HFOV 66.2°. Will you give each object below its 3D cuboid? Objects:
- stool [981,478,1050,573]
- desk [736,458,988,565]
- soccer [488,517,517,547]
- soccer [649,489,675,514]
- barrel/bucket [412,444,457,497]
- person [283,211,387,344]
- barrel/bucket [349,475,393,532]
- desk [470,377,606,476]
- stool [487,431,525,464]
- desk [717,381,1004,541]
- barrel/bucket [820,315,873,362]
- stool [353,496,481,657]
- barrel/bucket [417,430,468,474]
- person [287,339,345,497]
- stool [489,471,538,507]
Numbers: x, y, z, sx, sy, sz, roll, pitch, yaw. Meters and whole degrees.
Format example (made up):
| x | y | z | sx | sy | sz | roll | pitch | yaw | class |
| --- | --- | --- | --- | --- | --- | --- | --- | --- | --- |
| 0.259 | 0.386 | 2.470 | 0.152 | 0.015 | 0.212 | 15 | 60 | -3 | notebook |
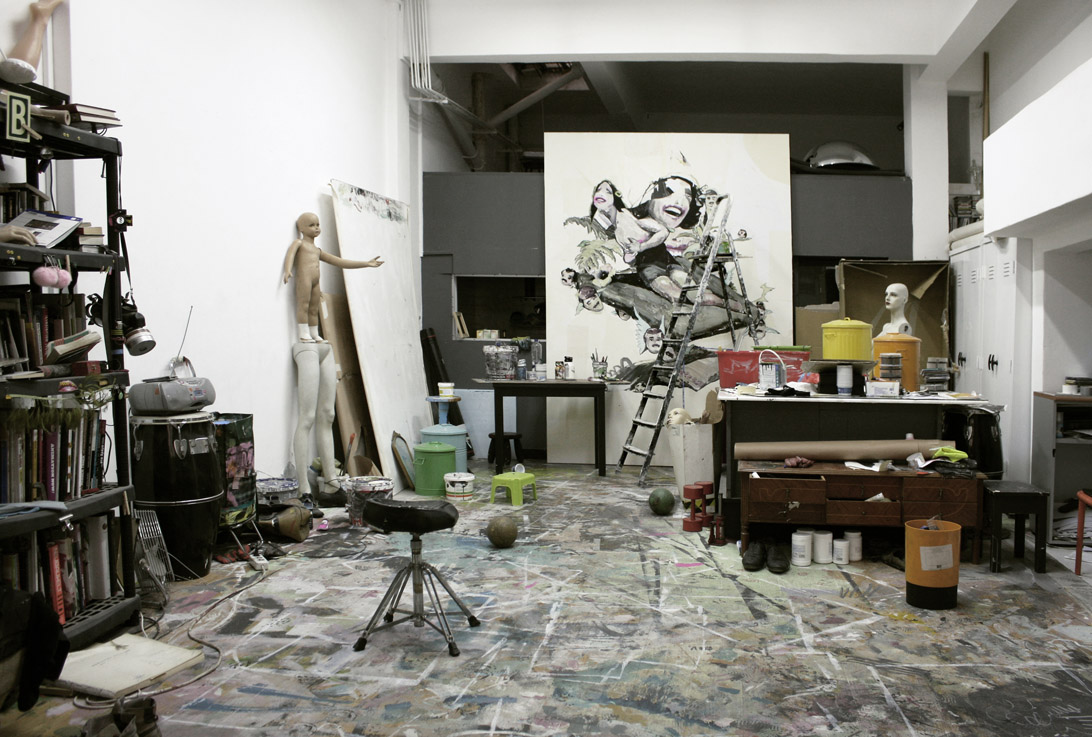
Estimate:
| x | y | z | sx | sy | sz | roll | pitch | yaw | class |
| --- | --- | --- | --- | --- | --- | --- | --- | --- | --- |
| 3.752 | 1.263 | 6.677 | 0.235 | 0.373 | 0.739 | -2 | 1 | 17 | stool |
| 2.532 | 1.024 | 6.686 | 1.894 | 0.493 | 0.212 | 2 | 14 | 7 | desk |
| -0.367 | 1.386 | 7.135 | 0.256 | 0.250 | 0.285 | -1 | 14 | -3 | soccer |
| 1.126 | 1.279 | 8.054 | 0.257 | 0.263 | 0.238 | -1 | 14 | -1 | soccer |
| -1.181 | 1.080 | 8.975 | 0.530 | 0.529 | 0.474 | 2 | -3 | -37 | barrel/bucket |
| -2.215 | -0.915 | 8.221 | 0.483 | 1.236 | 0.763 | 3 | 14 | 13 | person |
| -1.629 | 1.189 | 7.628 | 0.514 | 0.547 | 0.568 | 1 | -4 | -14 | barrel/bucket |
| 0.053 | 0.886 | 10.071 | 1.770 | 1.241 | 1.063 | 0 | -2 | 2 | desk |
| -0.488 | 0.973 | 10.399 | 0.410 | 0.419 | 0.403 | -1 | -2 | -7 | stool |
| 2.722 | 1.108 | 7.620 | 2.359 | 1.134 | 1.286 | -1 | -4 | 6 | desk |
| 2.611 | -0.263 | 7.291 | 0.407 | 0.349 | 0.376 | 0 | -3 | 0 | barrel/bucket |
| -0.831 | 1.373 | 5.873 | 0.928 | 1.238 | 0.950 | 1 | 2 | 11 | stool |
| -1.105 | 0.890 | 9.264 | 0.509 | 0.539 | 0.511 | 0 | -3 | 0 | barrel/bucket |
| -2.217 | 0.444 | 8.044 | 0.447 | 1.467 | 0.720 | -4 | 14 | -15 | person |
| -0.330 | 1.189 | 8.479 | 0.373 | 0.235 | 0.353 | 0 | -3 | -6 | stool |
